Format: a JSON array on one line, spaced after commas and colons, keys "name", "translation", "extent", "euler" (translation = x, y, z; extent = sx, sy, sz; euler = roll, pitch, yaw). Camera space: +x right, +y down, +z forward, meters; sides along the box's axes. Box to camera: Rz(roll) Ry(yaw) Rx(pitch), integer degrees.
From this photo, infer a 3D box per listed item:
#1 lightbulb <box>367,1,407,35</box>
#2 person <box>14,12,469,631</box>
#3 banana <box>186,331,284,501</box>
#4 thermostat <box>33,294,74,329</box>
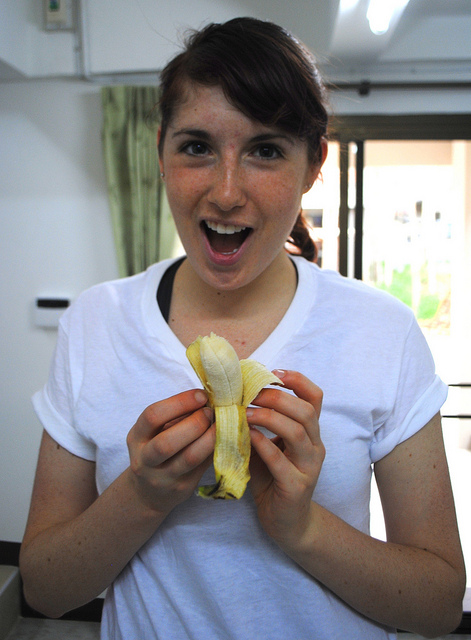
[{"name": "lightbulb", "translation": [0.513, -1.070, 2.102], "extent": [0.087, 0.081, 0.154], "euler": [-4, -6, 0]}, {"name": "person", "translation": [-0.010, 0.042, 1.003], "extent": [0.716, 1.053, 0.471], "euler": [-2, 13, -12]}, {"name": "banana", "translation": [0.000, 0.146, 0.856], "extent": [0.137, 0.253, 0.097], "euler": [0, 13, -5]}, {"name": "thermostat", "translation": [-0.724, -0.038, 2.368], "extent": [0.166, 0.144, 0.088], "euler": [1, 3, 4]}]
